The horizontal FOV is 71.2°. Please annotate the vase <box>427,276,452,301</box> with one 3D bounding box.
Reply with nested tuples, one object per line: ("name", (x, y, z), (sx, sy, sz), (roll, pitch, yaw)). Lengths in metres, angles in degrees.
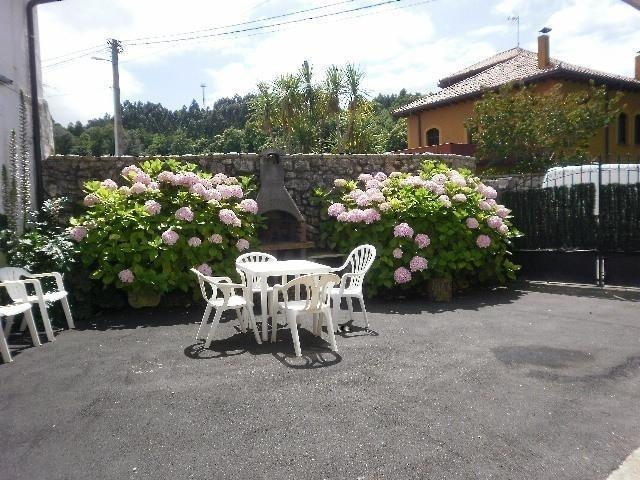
("vase", (1.963, 0.819, 7.484), (0.335, 0.376, 0.361), (0, -1, -1))
